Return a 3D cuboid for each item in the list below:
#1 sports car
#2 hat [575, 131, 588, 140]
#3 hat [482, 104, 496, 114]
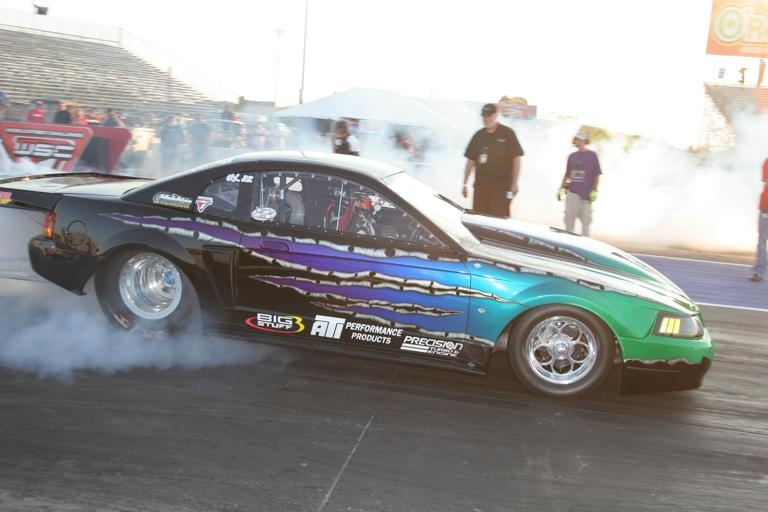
[{"bbox_3d":[-0.517,0.089,5.906,6.500,1.264,2.262,6,6,3],"label":"sports car"},{"bbox_3d":[3.241,-2.006,10.362,0.215,0.107,0.246,1,22,-14],"label":"hat"},{"bbox_3d":[1.497,-2.102,8.869,0.201,0.166,0.210,2,12,3],"label":"hat"}]
